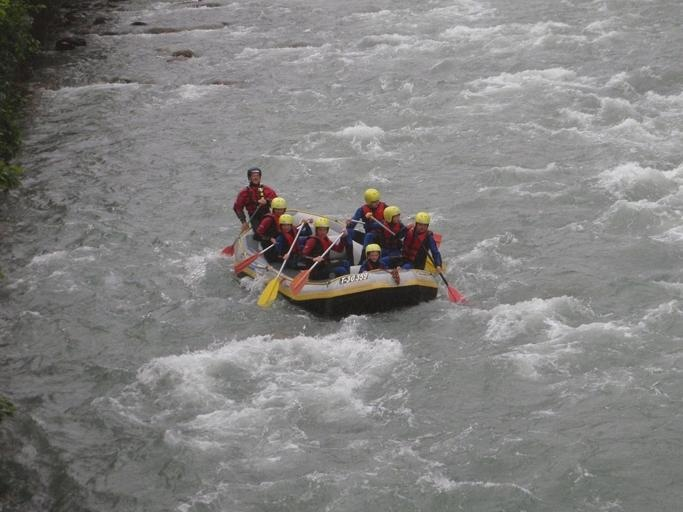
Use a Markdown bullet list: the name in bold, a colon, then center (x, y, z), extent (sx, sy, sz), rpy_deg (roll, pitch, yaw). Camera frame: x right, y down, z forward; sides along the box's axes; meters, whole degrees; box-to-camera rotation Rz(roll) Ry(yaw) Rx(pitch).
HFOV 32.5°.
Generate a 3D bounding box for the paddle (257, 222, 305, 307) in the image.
- **paddle**: center (-1.719, 0.370, 35.526), extent (0.659, 0.146, 3.458), rpy_deg (14, 38, 18)

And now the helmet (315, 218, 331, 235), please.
- **helmet**: center (-0.642, -0.918, 35.678), extent (0.467, 0.421, 0.525), rpy_deg (1, 16, -11)

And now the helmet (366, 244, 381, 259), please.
- **helmet**: center (0.920, -0.205, 34.819), extent (0.360, 0.389, 0.322), rpy_deg (0, 62, -10)

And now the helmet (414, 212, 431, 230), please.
- **helmet**: center (2.419, -1.099, 35.147), extent (0.466, 0.564, 0.382), rpy_deg (5, 85, -2)
